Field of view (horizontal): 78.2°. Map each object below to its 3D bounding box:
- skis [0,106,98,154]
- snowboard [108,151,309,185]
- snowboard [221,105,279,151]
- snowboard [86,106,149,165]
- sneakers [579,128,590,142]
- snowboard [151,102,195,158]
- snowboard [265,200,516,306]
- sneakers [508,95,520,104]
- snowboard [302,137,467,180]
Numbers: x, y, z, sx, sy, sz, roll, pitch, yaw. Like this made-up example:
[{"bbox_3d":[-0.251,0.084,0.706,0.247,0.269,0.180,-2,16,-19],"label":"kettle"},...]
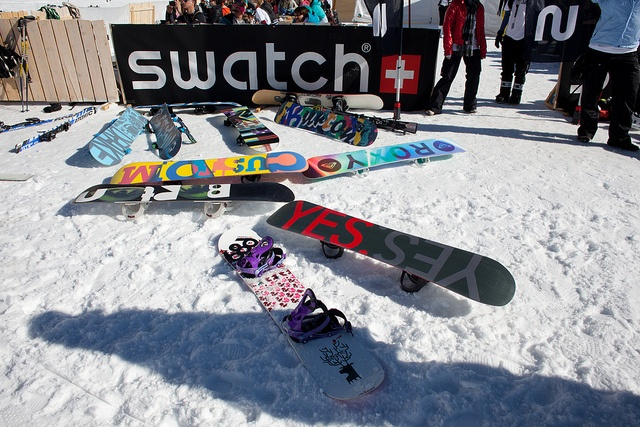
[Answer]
[{"bbox_3d":[-4.664,-1.570,7.092,0.303,0.220,1.954,-3,22,10],"label":"skis"},{"bbox_3d":[-1.580,-0.630,5.562,2.085,0.153,0.486,-5,44,-6],"label":"snowboard"},{"bbox_3d":[-1.211,-1.491,6.799,0.513,0.249,1.747,-17,50,-24],"label":"snowboard"},{"bbox_3d":[-3.231,-1.295,6.441,0.415,0.187,1.395,32,36,-11],"label":"snowboard"},{"bbox_3d":[4.331,-1.275,6.441,0.098,0.296,0.135,3,-3,28],"label":"sneakers"},{"bbox_3d":[-2.552,-1.297,6.609,0.655,0.194,1.262,-26,49,-10],"label":"snowboard"},{"bbox_3d":[0.750,0.462,4.313,2.110,0.134,0.490,20,50,23],"label":"snowboard"},{"bbox_3d":[4.147,-2.414,8.389,0.104,0.120,0.276,13,45,23],"label":"sneakers"},{"bbox_3d":[0.983,-0.802,5.863,1.872,0.254,0.437,-10,50,-5],"label":"snowboard"}]
